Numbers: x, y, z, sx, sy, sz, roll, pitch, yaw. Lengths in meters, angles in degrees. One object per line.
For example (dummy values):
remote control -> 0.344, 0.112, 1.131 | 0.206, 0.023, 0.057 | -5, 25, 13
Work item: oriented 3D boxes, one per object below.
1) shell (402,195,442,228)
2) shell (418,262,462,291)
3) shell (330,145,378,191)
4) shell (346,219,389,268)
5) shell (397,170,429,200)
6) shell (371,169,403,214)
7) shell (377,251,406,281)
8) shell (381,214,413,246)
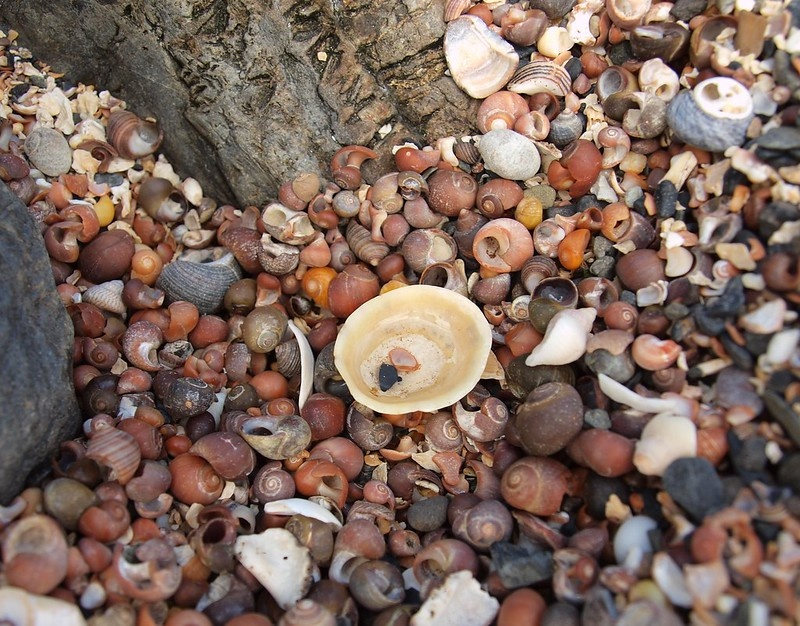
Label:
shell -> 0.178, -0.845, 6.304 | 0.356, 0.107, 0.236 | 39, 83, 6
shell -> 0.345, -0.281, 6.141 | 0.234, 0.246, 0.315 | -39, 92, 18
shell -> -0.456, -1.299, 6.401 | 0.342, 0.190, 0.446 | 24, 66, 1
shell -> -0.288, -0.578, 6.395 | 0.296, 0.153, 0.472 | -38, 71, 3
shell -> 0.101, -1.104, 6.259 | 0.253, 0.180, 0.219 | -2, 80, 0
shell -> -0.122, -1.028, 6.200 | 0.308, 0.141, 0.275 | -42, 87, 17
shell -> -0.080, -0.401, 6.319 | 0.236, 0.141, 0.183 | -38, 98, 9
shell -> -0.033, -0.716, 6.281 | 0.226, 0.165, 0.252 | 13, 88, -16
